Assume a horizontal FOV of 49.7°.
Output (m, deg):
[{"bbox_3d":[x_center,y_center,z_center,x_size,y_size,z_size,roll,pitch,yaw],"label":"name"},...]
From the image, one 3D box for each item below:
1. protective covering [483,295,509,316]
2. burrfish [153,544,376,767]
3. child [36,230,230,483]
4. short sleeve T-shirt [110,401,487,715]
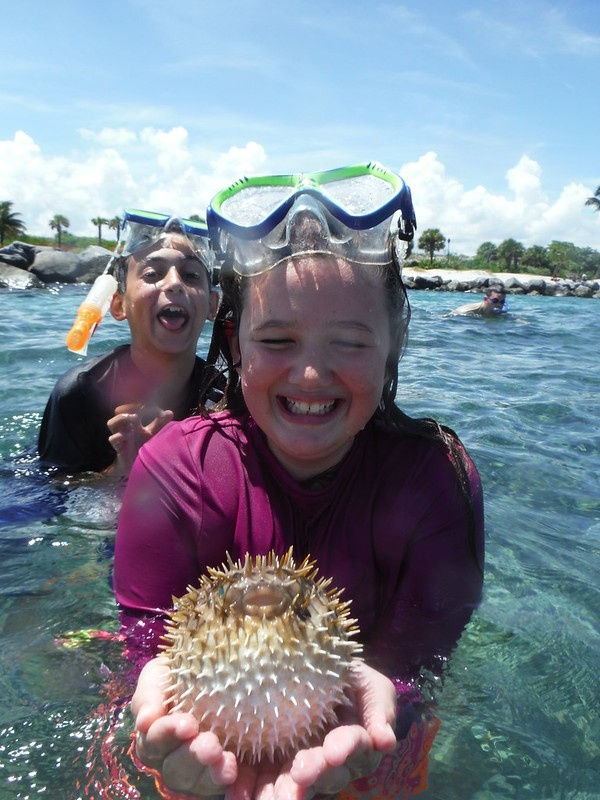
[{"bbox_3d":[4.526,-2.224,15.045,0.432,0.223,0.576,7,-1,1],"label":"protective covering"},{"bbox_3d":[-0.068,0.591,1.438,0.364,0.376,0.420,-17,-35,22],"label":"burrfish"},{"bbox_3d":[-0.982,-0.177,4.171,1.227,1.773,1.063,3,0,-5],"label":"child"},{"bbox_3d":[-0.069,0.553,2.164,1.048,0.967,0.582,8,-1,-21],"label":"short sleeve T-shirt"}]
